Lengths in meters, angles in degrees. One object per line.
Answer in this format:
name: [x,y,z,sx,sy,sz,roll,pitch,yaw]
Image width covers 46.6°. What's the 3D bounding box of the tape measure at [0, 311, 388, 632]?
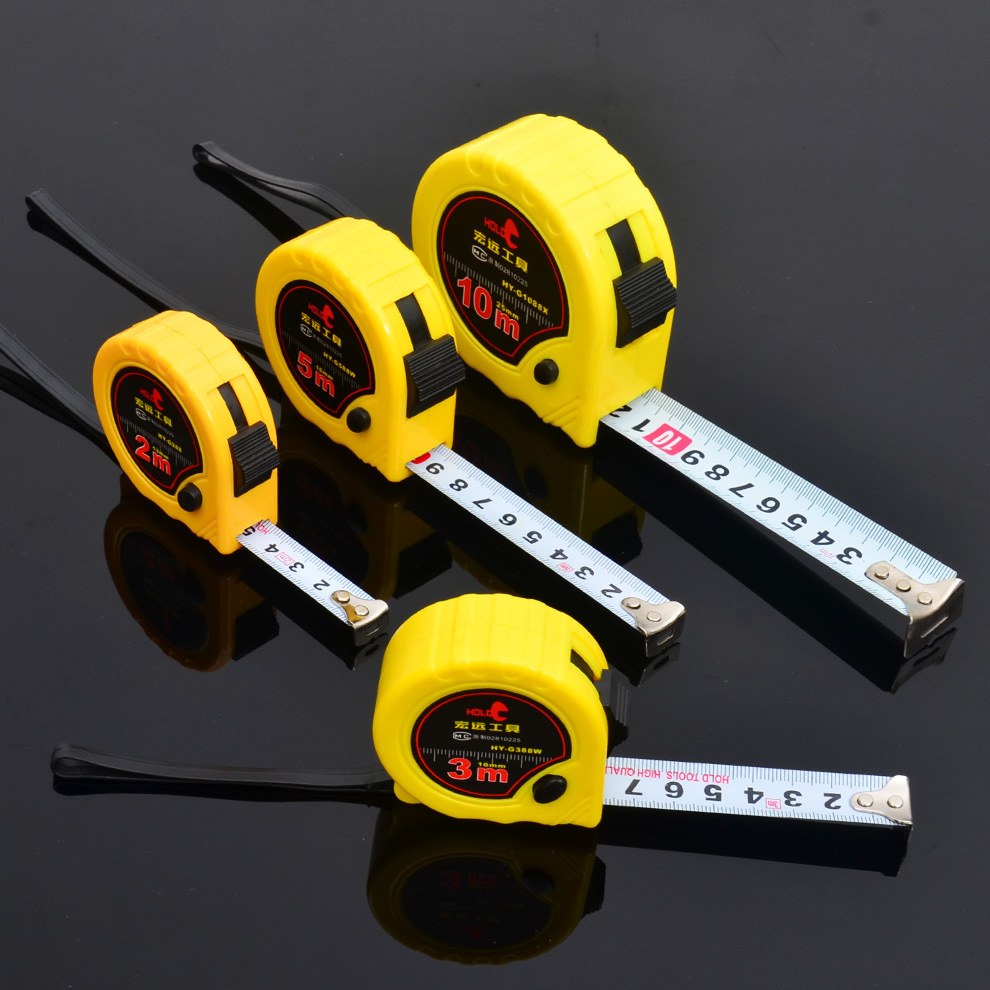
tape measure: [-0.826,-0.078,3.767,1.226,0.488,0.216,39,57,17]
